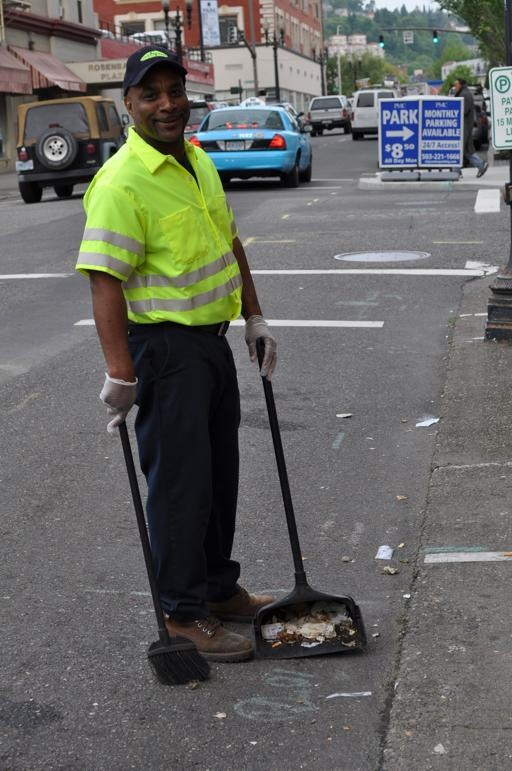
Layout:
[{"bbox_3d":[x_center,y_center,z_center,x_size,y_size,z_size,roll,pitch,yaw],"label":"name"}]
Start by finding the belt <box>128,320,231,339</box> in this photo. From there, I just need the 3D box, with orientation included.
[{"bbox_3d":[-0.242,-0.167,2.531,0.122,0.026,0.115,0,7,9],"label":"belt"}]

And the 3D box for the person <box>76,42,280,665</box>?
[{"bbox_3d":[-0.224,-0.070,2.668,0.472,1.830,0.699,7,17,31],"label":"person"}]

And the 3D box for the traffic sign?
[{"bbox_3d":[3.893,-5.826,19.711,1.925,1.415,0.145,0,4,10],"label":"traffic sign"}]

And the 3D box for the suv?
[{"bbox_3d":[-4.464,-6.062,21.893,2.448,2.207,4.253,-4,18,8],"label":"suv"}]

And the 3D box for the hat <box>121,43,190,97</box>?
[{"bbox_3d":[-0.314,-0.937,2.502,0.139,0.103,0.189,-8,-2,-20],"label":"hat"}]

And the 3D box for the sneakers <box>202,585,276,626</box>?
[{"bbox_3d":[-0.060,0.743,2.913,0.279,0.115,0.096,-2,19,-2],"label":"sneakers"}]

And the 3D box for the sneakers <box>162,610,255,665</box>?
[{"bbox_3d":[-0.141,0.789,2.675,0.314,0.125,0.112,2,7,13],"label":"sneakers"}]
